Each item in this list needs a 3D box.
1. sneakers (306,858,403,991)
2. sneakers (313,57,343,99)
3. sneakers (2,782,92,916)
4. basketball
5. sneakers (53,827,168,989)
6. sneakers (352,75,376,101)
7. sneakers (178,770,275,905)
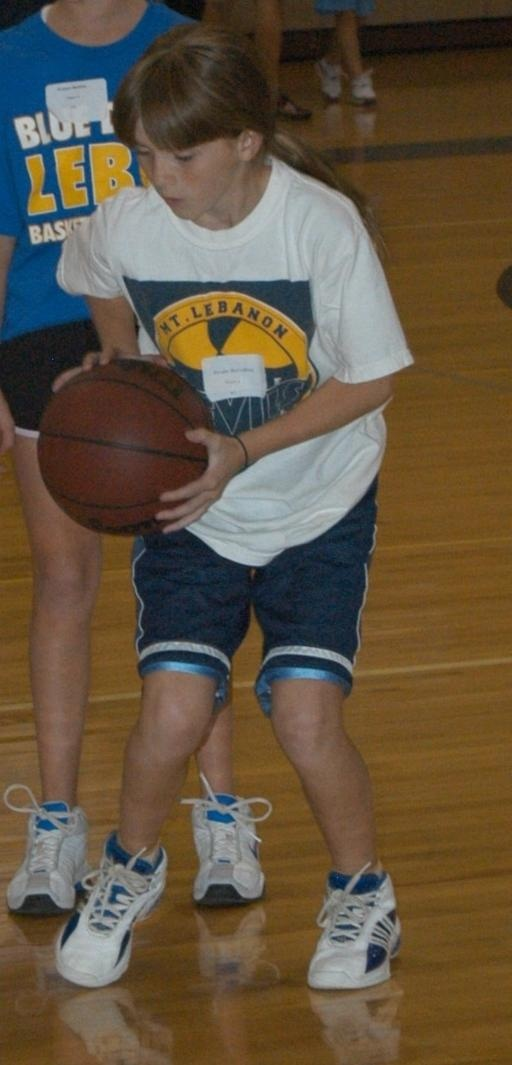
[{"bbox_3d":[0.139,0.551,1.284,0.078,0.096,0.204,-6,10,15],"label":"sneakers"},{"bbox_3d":[0.486,-2.980,5.908,0.111,0.346,0.141,-12,9,-22],"label":"sneakers"},{"bbox_3d":[-0.317,0.521,1.500,0.100,0.162,0.221,1,4,10],"label":"sneakers"},{"bbox_3d":[-0.138,-0.123,1.191,0.215,0.217,0.214,-4,15,9],"label":"basketball"},{"bbox_3d":[-0.182,0.519,1.298,0.096,0.117,0.259,18,52,6],"label":"sneakers"},{"bbox_3d":[0.693,-2.811,5.694,0.101,0.118,0.247,-2,53,1],"label":"sneakers"},{"bbox_3d":[-0.046,0.511,1.492,0.104,0.112,0.234,-3,3,0],"label":"sneakers"}]
